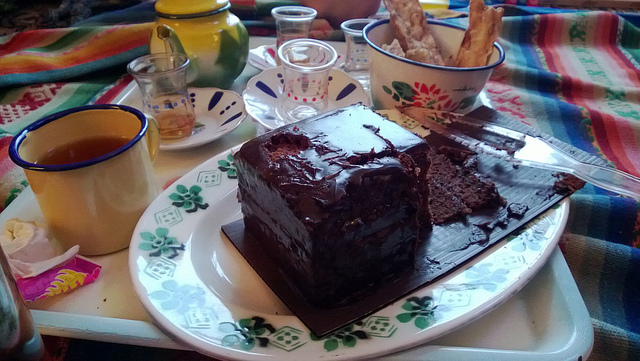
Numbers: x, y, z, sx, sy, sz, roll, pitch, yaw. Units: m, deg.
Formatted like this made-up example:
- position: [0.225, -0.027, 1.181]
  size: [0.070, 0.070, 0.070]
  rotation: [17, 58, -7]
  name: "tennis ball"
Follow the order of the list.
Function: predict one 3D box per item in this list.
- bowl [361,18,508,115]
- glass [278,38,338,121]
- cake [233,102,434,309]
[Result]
- position: [0.355, -0.367, 1.710]
  size: [0.453, 0.188, 0.425]
  rotation: [6, 27, -3]
  name: "bowl"
- position: [-0.039, -0.330, 1.600]
  size: [0.192, 0.248, 0.215]
  rotation: [-24, 37, -26]
  name: "glass"
- position: [0.083, 0.031, 1.315]
  size: [0.546, 0.248, 0.474]
  rotation: [-26, 56, -18]
  name: "cake"
